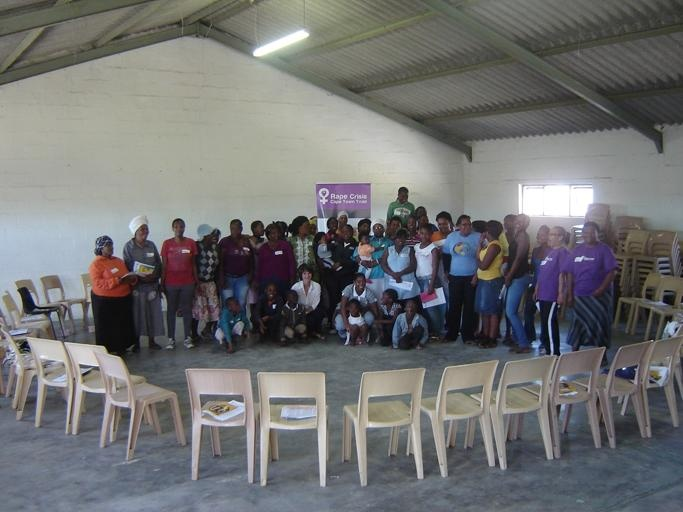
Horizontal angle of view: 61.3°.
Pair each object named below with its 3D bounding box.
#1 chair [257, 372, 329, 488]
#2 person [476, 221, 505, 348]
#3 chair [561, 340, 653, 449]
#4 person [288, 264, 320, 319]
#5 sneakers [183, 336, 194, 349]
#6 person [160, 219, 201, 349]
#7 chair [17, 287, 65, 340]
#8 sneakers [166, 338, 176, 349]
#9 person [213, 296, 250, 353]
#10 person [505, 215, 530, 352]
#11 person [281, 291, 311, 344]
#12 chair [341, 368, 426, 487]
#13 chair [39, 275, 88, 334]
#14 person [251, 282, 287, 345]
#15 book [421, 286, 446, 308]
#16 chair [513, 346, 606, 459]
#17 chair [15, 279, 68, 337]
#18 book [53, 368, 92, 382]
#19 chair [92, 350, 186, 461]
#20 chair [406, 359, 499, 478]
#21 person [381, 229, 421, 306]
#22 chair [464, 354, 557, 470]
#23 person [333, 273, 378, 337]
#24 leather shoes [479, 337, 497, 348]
[{"bbox_3d":[-0.415,1.388,4.945,0.590,0.942,0.695,-2,13,-6],"label":"chair"},{"bbox_3d":[2.002,0.381,7.824,0.335,1.733,0.382,3,14,13],"label":"person"},{"bbox_3d":[2.629,1.274,5.607,0.702,0.854,0.576,6,-9,-7],"label":"chair"},{"bbox_3d":[-0.531,0.509,8.509,0.538,0.695,0.485,-1,13,3],"label":"person"},{"bbox_3d":[-2.137,1.233,8.098,0.086,0.095,0.228,-1,-1,-31],"label":"sneakers"},{"bbox_3d":[-2.200,0.398,7.921,0.485,1.813,0.223,-4,14,-13],"label":"person"},{"bbox_3d":[-4.446,0.858,8.671,0.582,0.734,0.467,-7,11,-22],"label":"chair"},{"bbox_3d":[-2.394,1.244,8.086,0.090,0.085,0.208,0,-4,-10],"label":"sneakers"},{"bbox_3d":[-1.481,0.934,7.991,0.456,0.716,0.433,-8,15,-29],"label":"person"},{"bbox_3d":[2.362,0.365,7.761,0.407,1.828,0.676,3,14,15],"label":"person"},{"bbox_3d":[-0.677,0.872,8.304,0.473,0.736,0.428,-4,13,-16],"label":"person"},{"bbox_3d":[0.353,1.445,5.085,0.682,0.895,0.713,0,-2,-28],"label":"chair"},{"bbox_3d":[-4.583,0.762,9.571,0.621,0.814,0.487,7,12,25],"label":"chair"},{"bbox_3d":[-1.047,0.823,8.313,0.422,0.834,0.304,-1,13,-4],"label":"person"},{"bbox_3d":[1.283,0.584,8.189,0.304,0.184,0.078,-15,-7,7],"label":"book"},{"bbox_3d":[2.070,1.396,5.501,0.670,1.028,0.811,0,-9,-11],"label":"chair"},{"bbox_3d":[-4.452,0.825,8.551,0.527,0.689,0.390,-2,5,0],"label":"chair"},{"bbox_3d":[-2.741,1.218,5.834,0.209,0.056,0.210,1,7,12],"label":"book"},{"bbox_3d":[-1.892,1.337,5.450,0.624,0.878,0.700,6,8,26],"label":"chair"},{"bbox_3d":[0.983,1.403,5.231,0.635,0.943,0.717,-2,2,-32],"label":"chair"},{"bbox_3d":[0.839,0.287,8.428,0.563,1.251,0.435,-2,15,10],"label":"person"},{"bbox_3d":[1.535,1.372,5.328,0.595,0.951,0.699,-4,3,-20],"label":"chair"},{"bbox_3d":[0.192,0.761,8.449,0.688,0.968,0.624,-7,18,-22],"label":"person"},{"bbox_3d":[1.999,1.207,7.956,0.108,0.119,0.299,-1,-4,44],"label":"leather shoes"}]
